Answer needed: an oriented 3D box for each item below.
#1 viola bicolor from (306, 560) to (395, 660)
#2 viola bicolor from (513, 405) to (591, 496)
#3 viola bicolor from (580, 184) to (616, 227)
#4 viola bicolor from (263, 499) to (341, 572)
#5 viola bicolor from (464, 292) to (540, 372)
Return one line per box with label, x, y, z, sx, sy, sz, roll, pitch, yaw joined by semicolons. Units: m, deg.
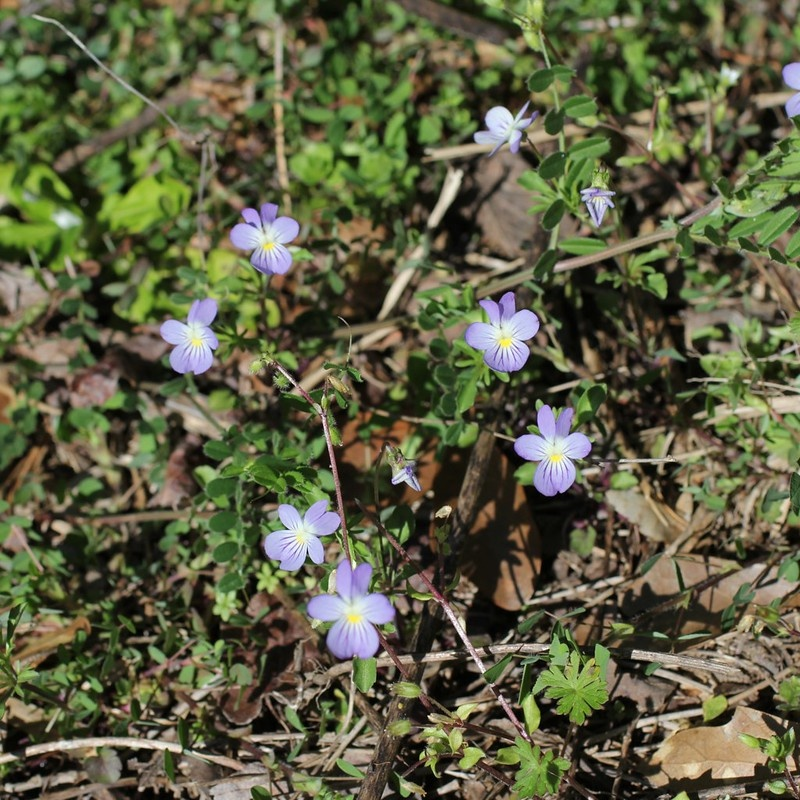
viola bicolor;-0.119;0.539;2.070;0.230;0.055;0.247;1;106;8
viola bicolor;0.447;0.147;2.395;0.231;0.081;0.258;1;94;2
viola bicolor;0.610;-0.605;2.564;0.118;0.044;0.124;3;90;-3
viola bicolor;-0.289;0.385;2.339;0.239;0.059;0.201;-16;41;-18
viola bicolor;0.321;-0.218;2.506;0.246;0.287;0.083;-24;48;4
